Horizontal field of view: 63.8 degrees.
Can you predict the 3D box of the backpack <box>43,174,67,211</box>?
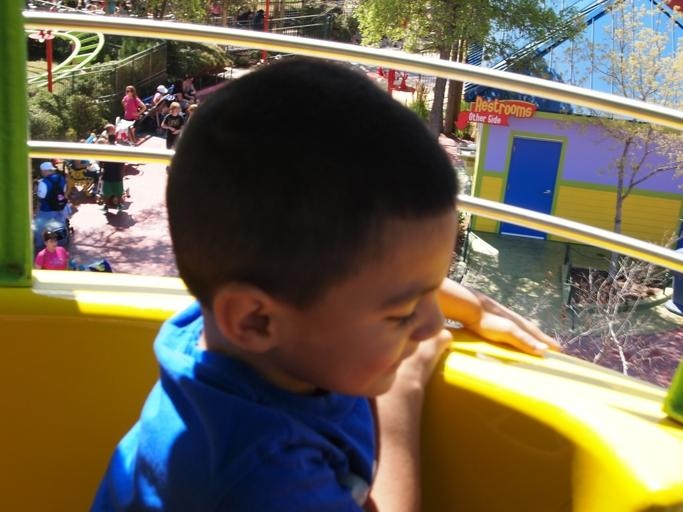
[{"bbox_3d":[-3.314,-0.732,6.310,0.183,0.358,0.228,9,39,4],"label":"backpack"}]
